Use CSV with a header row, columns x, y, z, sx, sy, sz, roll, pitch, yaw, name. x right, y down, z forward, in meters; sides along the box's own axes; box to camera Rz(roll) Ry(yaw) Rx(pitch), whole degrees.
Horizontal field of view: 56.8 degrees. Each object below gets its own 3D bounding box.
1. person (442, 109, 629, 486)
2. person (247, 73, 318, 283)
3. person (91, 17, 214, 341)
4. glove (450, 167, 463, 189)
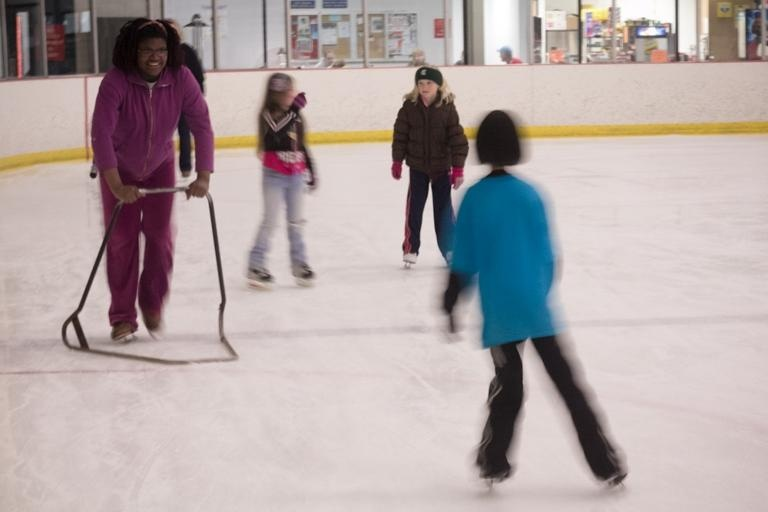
x,y,z,sx,sy,sz,roll,pitch,yaw,name
0.544,0.182,2.538,0.625,1.369,0.271,4,12,17,person
-0.703,-0.523,4.850,0.478,1.393,0.490,-1,12,-6,person
-1.184,-0.357,3.715,0.602,1.683,0.399,-5,13,-21,person
0.539,-0.551,4.996,0.103,0.123,0.130,-5,5,-41,glove
